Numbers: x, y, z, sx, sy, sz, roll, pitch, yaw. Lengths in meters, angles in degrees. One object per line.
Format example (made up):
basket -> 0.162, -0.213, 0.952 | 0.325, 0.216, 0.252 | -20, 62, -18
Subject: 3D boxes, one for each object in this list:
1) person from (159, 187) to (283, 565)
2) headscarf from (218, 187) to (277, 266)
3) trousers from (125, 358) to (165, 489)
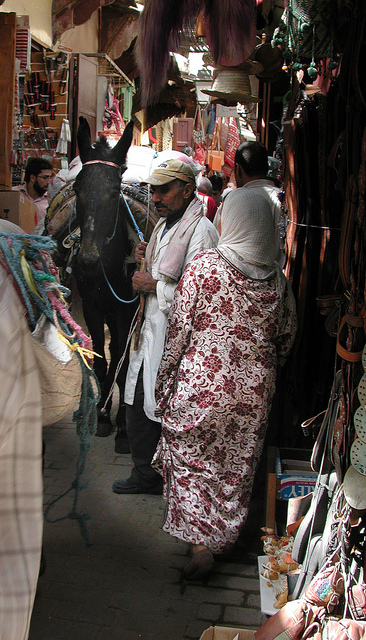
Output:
person -> 0.189, 0.228, 2.198 | 0.587, 1.379, 0.337 | 4, 2, -3
headscarf -> 0.303, -0.446, 2.270 | 0.235, 0.363, 0.248 | 7, 24, 13
trousers -> -0.251, 0.637, 2.949 | 0.257, 0.720, 0.355 | 7, 20, -2
